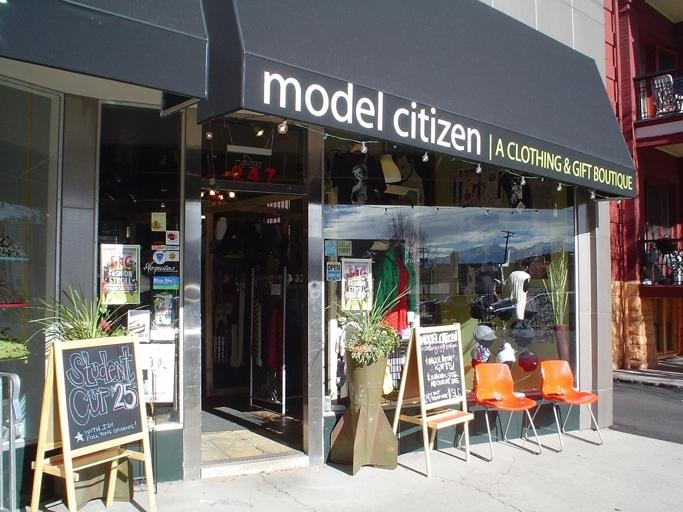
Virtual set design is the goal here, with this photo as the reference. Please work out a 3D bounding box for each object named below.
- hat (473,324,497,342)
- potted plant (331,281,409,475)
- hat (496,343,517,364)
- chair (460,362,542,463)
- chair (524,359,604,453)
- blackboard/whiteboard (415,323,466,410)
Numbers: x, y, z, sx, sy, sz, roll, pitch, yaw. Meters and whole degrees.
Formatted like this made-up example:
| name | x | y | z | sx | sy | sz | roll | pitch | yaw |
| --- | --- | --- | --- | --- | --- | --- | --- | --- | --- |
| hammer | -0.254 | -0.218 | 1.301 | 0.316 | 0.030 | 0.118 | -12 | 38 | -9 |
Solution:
| name | x | y | z | sx | sy | sz | roll | pitch | yaw |
| --- | --- | --- | --- | --- | --- | --- | --- | --- | --- |
| hat | 1.879 | 1.012 | 7.521 | 0.194 | 0.138 | 0.257 | -24 | 17 | -37 |
| potted plant | 0.249 | 1.485 | 6.282 | 0.740 | 1.656 | 0.357 | -1 | -3 | -12 |
| hat | 2.193 | 1.290 | 7.639 | 0.200 | 0.270 | 0.281 | -3 | 2 | 7 |
| chair | 2.040 | 1.842 | 6.975 | 0.866 | 1.072 | 0.872 | -2 | -3 | 1 |
| chair | 2.760 | 1.832 | 7.121 | 0.718 | 1.031 | 0.786 | 5 | -6 | -37 |
| blackboard/whiteboard | 1.161 | 1.238 | 6.513 | 0.649 | 0.865 | 0.139 | 0 | -3 | -37 |
